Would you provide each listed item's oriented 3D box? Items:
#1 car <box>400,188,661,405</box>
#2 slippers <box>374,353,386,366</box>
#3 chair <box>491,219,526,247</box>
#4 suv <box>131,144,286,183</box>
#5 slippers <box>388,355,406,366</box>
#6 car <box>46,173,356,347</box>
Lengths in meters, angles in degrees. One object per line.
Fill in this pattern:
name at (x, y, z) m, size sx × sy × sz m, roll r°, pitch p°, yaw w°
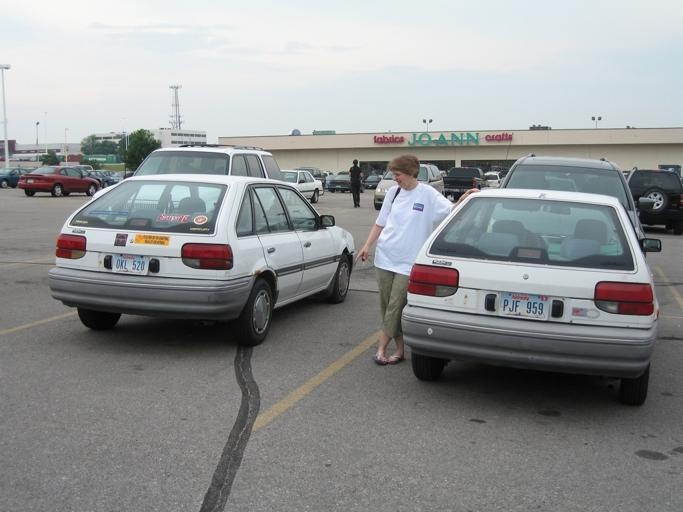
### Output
car at (1.598, 0.374, 4.333) m, size 1.405 × 1.116 × 2.448 m, roll 3°, pitch 17°, yaw 22°
slippers at (0.402, 1.073, 5.402) m, size 0.062 × 0.073 × 0.166 m, roll -8°, pitch 12°, yaw -43°
chair at (1.460, -0.207, 4.544) m, size 0.239 × 0.249 × 0.237 m, roll 3°, pitch -17°, yaw 9°
suv at (-2.763, -1.711, 11.830) m, size 1.503 × 1.267 × 2.684 m, roll 3°, pitch 2°, yaw 34°
slippers at (0.562, 1.095, 5.483) m, size 0.072 × 0.055 × 0.194 m, roll -4°, pitch -6°, yaw 33°
car at (-1.408, -0.071, 6.340) m, size 1.831 × 1.399 × 3.317 m, roll 4°, pitch 11°, yaw 21°
